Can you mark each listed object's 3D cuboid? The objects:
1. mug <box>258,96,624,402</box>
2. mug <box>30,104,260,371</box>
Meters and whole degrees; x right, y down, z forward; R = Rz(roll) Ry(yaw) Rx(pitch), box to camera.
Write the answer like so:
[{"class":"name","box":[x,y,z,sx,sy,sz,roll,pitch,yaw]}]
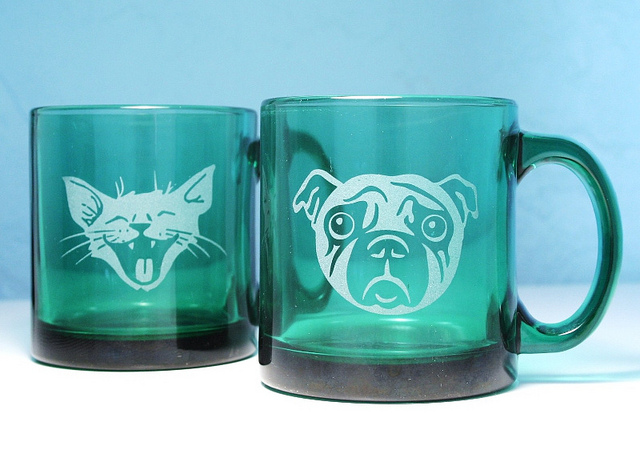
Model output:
[{"class":"mug","box":[0.085,0.041,0.634,0.183,0.219,0.301,-1,-15,15]},{"class":"mug","box":[-0.157,0.004,0.615,0.278,0.206,0.174,0,0,-35]}]
